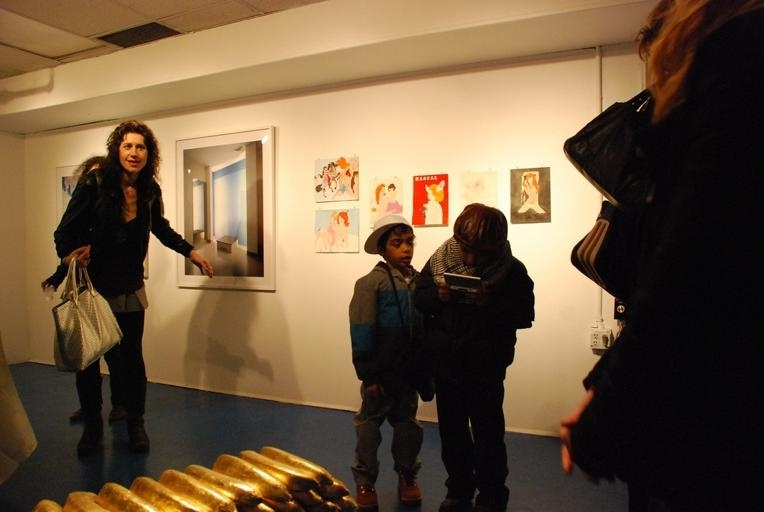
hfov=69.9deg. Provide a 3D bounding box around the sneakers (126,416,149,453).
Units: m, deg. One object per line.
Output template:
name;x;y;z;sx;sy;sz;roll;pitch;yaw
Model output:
sneakers;-1.569;1.136;3.526;0.125;0.185;0.234;-2;6;-25

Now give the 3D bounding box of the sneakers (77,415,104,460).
sneakers;-1.856;1.140;3.479;0.151;0.202;0.173;-2;6;-29

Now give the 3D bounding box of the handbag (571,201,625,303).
handbag;0.692;-0.054;1.817;0.163;0.232;0.125;9;4;12

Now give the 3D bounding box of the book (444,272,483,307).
book;0.381;0.140;2.535;0.153;0.144;0.135;5;17;26

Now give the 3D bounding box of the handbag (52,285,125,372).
handbag;-1.892;0.349;3.408;0.263;0.582;0.439;-3;14;1

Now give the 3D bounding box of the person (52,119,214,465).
person;-1.662;0.163;3.582;0.817;2.075;0.453;-2;6;-31
